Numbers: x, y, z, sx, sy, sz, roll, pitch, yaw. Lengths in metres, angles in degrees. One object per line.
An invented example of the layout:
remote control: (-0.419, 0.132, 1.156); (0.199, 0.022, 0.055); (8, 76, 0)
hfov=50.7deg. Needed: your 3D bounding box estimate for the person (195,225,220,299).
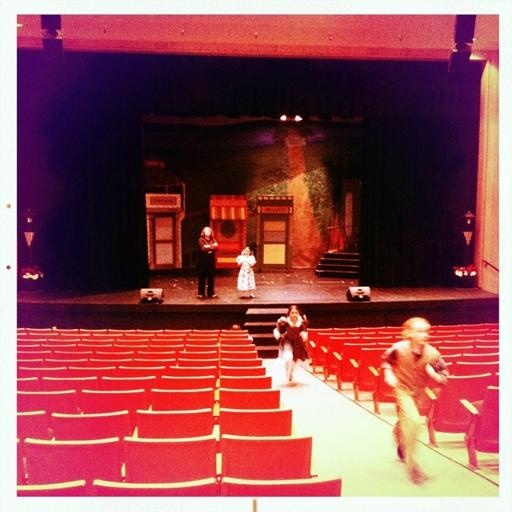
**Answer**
person: (-1.036, 0.158, 11.574); (0.456, 1.526, 0.996); (5, 8, -5)
